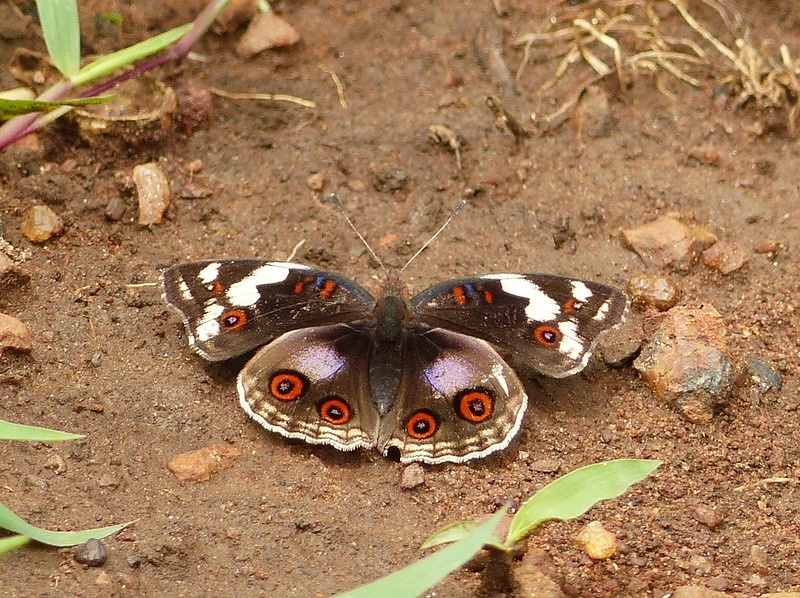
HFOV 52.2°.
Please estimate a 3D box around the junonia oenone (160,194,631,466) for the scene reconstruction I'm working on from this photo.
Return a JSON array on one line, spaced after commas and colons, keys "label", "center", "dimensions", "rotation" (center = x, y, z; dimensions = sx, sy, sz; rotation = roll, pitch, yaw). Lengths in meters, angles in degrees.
[{"label": "junonia oenone", "center": [-0.055, 0.162, 3.445], "dimensions": [1.935, 0.149, 0.968], "rotation": [3, 71, 3]}]
